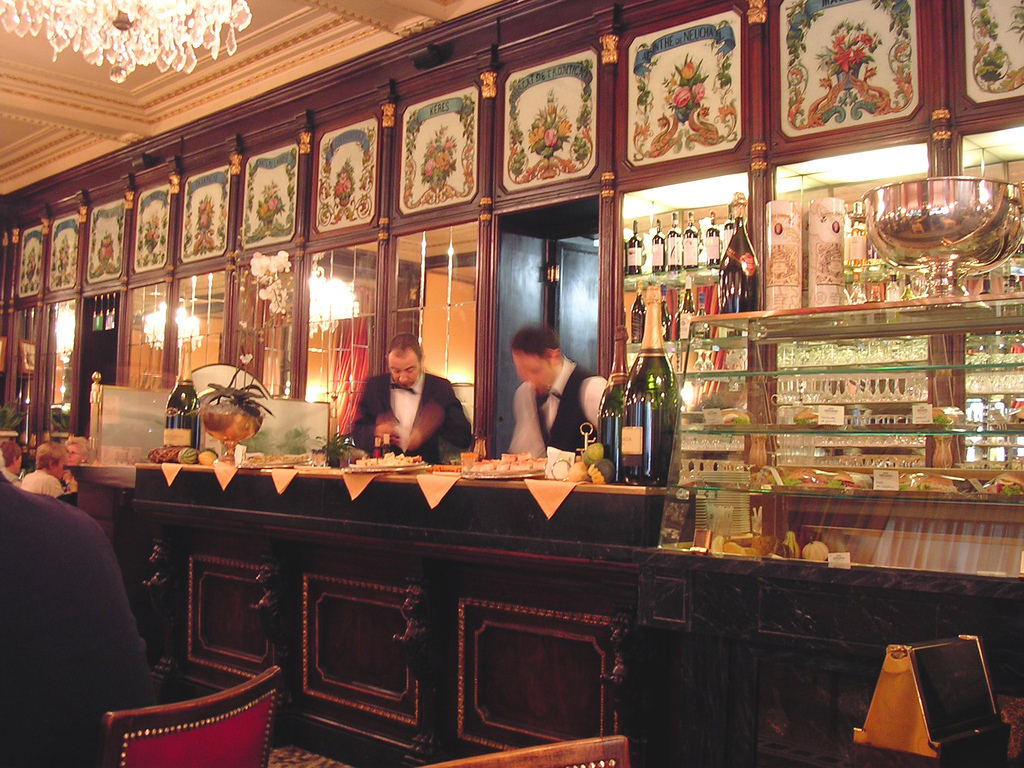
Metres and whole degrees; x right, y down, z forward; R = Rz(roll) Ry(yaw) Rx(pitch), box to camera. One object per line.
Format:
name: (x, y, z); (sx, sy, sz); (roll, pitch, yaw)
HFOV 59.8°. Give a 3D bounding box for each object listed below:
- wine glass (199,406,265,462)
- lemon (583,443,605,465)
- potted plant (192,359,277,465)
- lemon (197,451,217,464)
wine glass: (-1.453, 0.261, 4.625); (0.310, 0.294, 0.340); (-2, -10, 6)
lemon: (0.287, 0.260, 3.266); (0.081, 0.088, 0.163); (2, -2, -17)
potted plant: (-1.475, 0.175, 4.665); (0.410, 0.419, 0.418); (8, 1, 8)
lemon: (-1.574, 0.387, 4.601); (0.067, 0.081, 0.094); (-1, 7, -7)
